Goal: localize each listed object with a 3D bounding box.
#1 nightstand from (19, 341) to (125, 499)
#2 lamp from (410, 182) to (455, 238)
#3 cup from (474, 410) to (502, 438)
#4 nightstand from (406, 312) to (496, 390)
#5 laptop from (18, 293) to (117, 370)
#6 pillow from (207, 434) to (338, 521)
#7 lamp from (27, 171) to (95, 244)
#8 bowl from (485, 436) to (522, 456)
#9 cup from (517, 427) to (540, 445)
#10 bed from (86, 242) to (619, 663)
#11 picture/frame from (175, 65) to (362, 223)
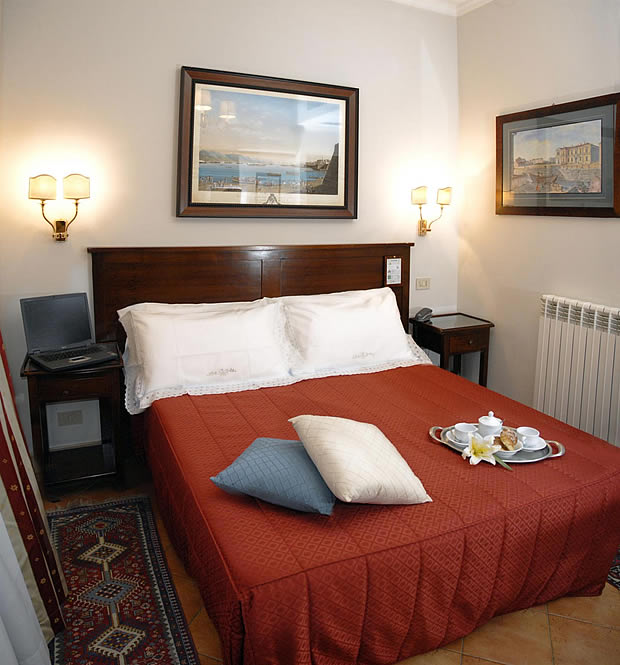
[{"bbox_3d":[-1.231,0.314,2.669,0.485,0.601,0.460,-13,44,-42],"label":"nightstand"},{"bbox_3d":[0.830,-0.822,3.581,0.293,0.322,0.213,5,19,15],"label":"lamp"},{"bbox_3d":[0.719,0.351,2.066,0.094,0.112,0.097,2,11,0],"label":"cup"},{"bbox_3d":[0.975,0.210,3.650,0.463,0.619,0.438,-4,13,-14],"label":"nightstand"},{"bbox_3d":[-1.177,-0.019,2.549,0.375,0.301,0.369,8,14,31],"label":"laptop"},{"bbox_3d":[-0.082,0.447,1.650,0.356,0.132,0.296,4,13,12],"label":"pillow"},{"bbox_3d":[-1.291,-0.648,2.668,0.349,0.380,0.085,-8,22,-34],"label":"lamp"},{"bbox_3d":[0.723,0.403,1.911,0.072,0.029,0.074,-2,15,1],"label":"bowl"},{"bbox_3d":[0.842,0.398,2.028,0.055,0.042,0.057,2,14,-1],"label":"cup"},{"bbox_3d":[-0.104,0.122,2.359,1.794,1.144,1.774,-6,15,-23],"label":"bed"},{"bbox_3d":[-0.289,-1.138,3.091,1.030,0.747,0.039,-2,9,-27],"label":"picture/frame"}]
